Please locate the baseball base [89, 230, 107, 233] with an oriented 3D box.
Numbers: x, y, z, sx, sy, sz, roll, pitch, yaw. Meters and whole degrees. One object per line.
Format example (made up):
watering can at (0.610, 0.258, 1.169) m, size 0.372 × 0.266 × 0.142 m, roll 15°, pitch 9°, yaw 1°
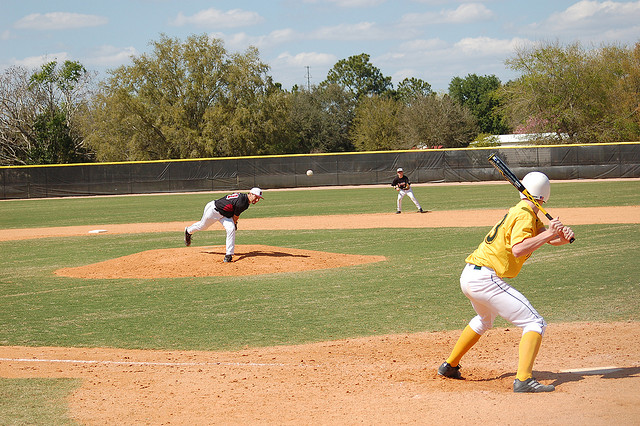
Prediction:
baseball base at (-7.640, 0.624, 26.734) m, size 0.629 × 0.046 × 0.652 m, roll -1°, pitch 4°, yaw 42°
